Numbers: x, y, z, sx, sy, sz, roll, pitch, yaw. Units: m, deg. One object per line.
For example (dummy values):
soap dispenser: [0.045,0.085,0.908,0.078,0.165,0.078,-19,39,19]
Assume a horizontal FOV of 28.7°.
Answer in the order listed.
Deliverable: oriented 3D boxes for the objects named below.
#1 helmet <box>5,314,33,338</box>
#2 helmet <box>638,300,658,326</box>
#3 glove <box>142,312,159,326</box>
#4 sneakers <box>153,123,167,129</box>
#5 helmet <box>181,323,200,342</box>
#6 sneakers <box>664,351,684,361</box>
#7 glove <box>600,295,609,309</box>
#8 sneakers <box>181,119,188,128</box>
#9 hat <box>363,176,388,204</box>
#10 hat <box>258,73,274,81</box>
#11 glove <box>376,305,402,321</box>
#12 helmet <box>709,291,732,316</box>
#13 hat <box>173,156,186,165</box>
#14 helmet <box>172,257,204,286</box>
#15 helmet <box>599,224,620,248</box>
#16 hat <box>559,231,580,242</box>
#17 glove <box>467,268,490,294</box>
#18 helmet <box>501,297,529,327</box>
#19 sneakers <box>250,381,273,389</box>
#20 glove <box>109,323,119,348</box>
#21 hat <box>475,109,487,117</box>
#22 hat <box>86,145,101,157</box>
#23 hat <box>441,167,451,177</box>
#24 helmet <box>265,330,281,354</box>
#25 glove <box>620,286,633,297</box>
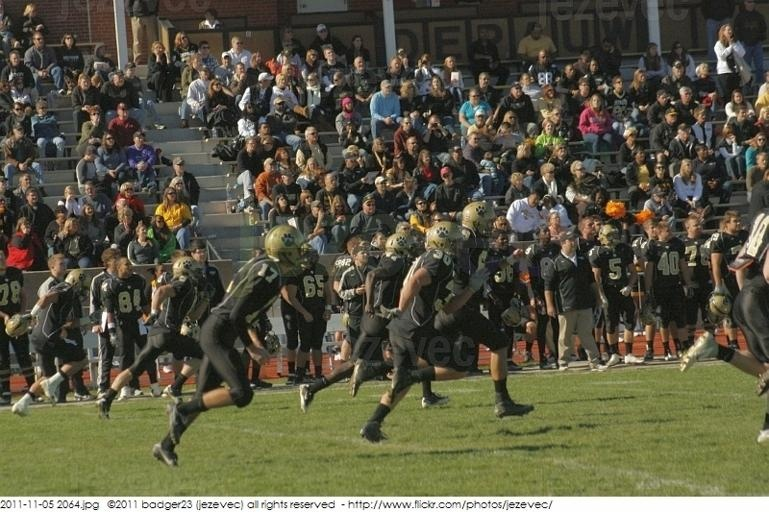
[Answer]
helmet: [-6.134,1.121,24.874,0.406,0.294,0.357,-32,14,9]
helmet: [4.604,0.977,25.993,0.424,0.521,0.279,-1,-13,-6]
glove: [-3.639,0.992,23.520,0.377,0.131,0.267,-7,-5,-13]
sneakers: [-4.631,-2.620,30.590,0.282,0.116,0.095,-4,1,36]
helmet: [-3.061,1.189,23.699,0.305,0.270,0.237,24,0,33]
sneakers: [5.051,1.718,25.856,0.390,0.126,0.150,-3,-16,4]
glove: [3.767,0.793,25.561,0.095,0.204,0.158,-23,-1,13]
sneakers: [-4.123,-2.682,30.611,0.143,0.155,0.147,0,-5,8]
hat: [-0.123,-1.220,28.080,0.306,0.503,0.524,-1,4,1]
hat: [-2.411,-3.596,30.258,0.255,0.119,0.182,-10,15,-28]
glove: [0.034,0.887,23.169,0.272,0.192,0.757,-2,4,-11]
helmet: [5.422,0.757,23.804,0.331,0.409,0.405,3,5,-1]
hat: [-3.970,-1.806,28.680,0.255,0.121,0.366,0,2,-6]
helmet: [-3.173,0.236,23.524,0.477,0.431,0.363,-5,11,-26]
helmet: [3.846,-0.306,25.849,0.304,0.360,0.382,6,-29,-11]
hat: [3.125,-0.288,25.431,0.325,0.161,0.240,-17,2,21]
glove: [1.422,0.367,22.538,0.235,0.336,0.367,0,4,13]
helmet: [2.122,0.962,24.367,0.233,0.351,0.602,-47,4,-12]
sneakers: [-2.109,2.169,25.317,0.382,0.143,0.125,0,-1,-13]
glove: [-4.521,1.299,24.857,0.078,0.295,0.220,-17,17,-38]
hat: [1.925,-2.827,29.911,0.149,0.131,0.178,0,-5,-5]
hat: [-5.557,-1.961,28.353,0.167,0.204,0.211,14,14,21]
hat: [1.159,-1.590,28.292,0.201,0.181,0.228,-1,4,3]
helmet: [-1.752,1.338,23.067,0.223,0.332,0.527,-2,4,-4]
glove: [4.156,0.607,25.672,0.191,0.064,0.135,-15,34,-12]
